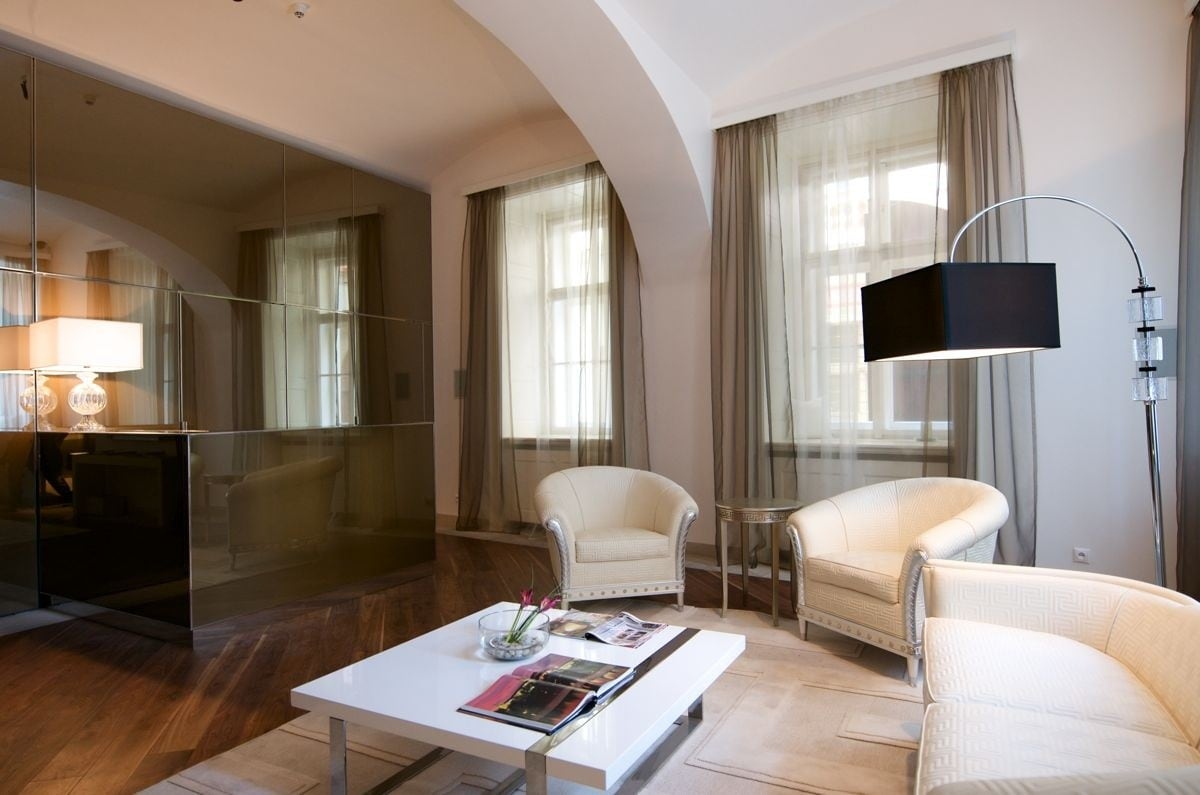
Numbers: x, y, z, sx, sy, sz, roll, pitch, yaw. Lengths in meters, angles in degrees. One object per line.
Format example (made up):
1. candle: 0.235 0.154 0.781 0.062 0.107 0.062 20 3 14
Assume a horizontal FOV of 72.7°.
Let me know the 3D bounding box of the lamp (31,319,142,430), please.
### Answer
1. lamp: -3.685 -0.142 5.887 0.717 0.740 0.737 -4 -5 11

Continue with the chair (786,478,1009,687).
1. chair: 1.964 1.046 5.344 1.209 1.206 1.194 6 -6 -37

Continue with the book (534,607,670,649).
1. book: 0.001 1.284 4.528 0.443 0.066 0.333 1 0 30

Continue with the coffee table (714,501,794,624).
1. coffee table: 0.968 1.139 5.787 0.563 0.698 0.565 -1 -10 10

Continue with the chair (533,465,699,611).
1. chair: 0.136 0.984 5.872 1.097 0.950 0.962 0 -9 -6
